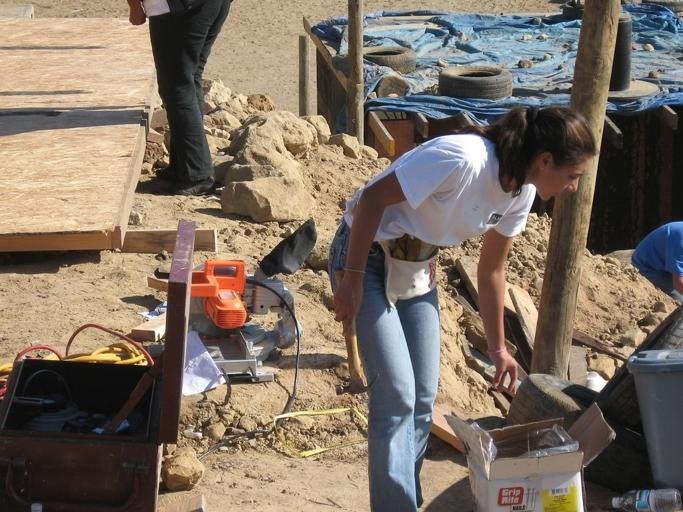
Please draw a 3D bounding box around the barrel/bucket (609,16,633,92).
[{"bbox_3d":[3.408,-2.459,13.073,0.247,0.883,0.218,-5,14,-10],"label":"barrel/bucket"}]
